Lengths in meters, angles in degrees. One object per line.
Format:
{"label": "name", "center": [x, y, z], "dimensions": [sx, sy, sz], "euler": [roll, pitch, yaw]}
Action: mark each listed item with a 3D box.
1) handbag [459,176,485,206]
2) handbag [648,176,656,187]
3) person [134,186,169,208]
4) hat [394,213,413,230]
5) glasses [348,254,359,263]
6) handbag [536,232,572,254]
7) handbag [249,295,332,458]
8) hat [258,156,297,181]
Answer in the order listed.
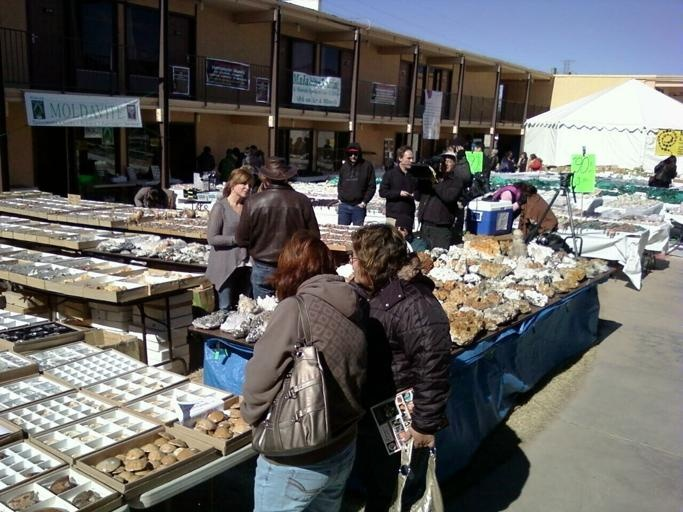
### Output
{"label": "handbag", "center": [2.466, -1.236, 9.093], "dimensions": [0.310, 0.302, 0.970], "euler": [16, 1, 8]}
{"label": "handbag", "center": [10.583, -2.546, 16.244], "dimensions": [0.215, 0.301, 0.080], "euler": [29, 26, 33]}
{"label": "person", "center": [-3.330, -1.029, 8.357], "dimensions": [0.427, 0.362, 0.823], "euler": [-23, 17, -3]}
{"label": "hat", "center": [1.001, -0.547, 7.542], "dimensions": [0.277, 0.219, 0.198], "euler": [6, 10, -38]}
{"label": "glasses", "center": [0.100, 0.019, 4.023], "dimensions": [0.092, 0.029, 0.092], "euler": [-8, 16, -30]}
{"label": "handbag", "center": [4.007, -0.245, 8.938], "dimensions": [0.697, 0.277, 0.542], "euler": [18, 0, -16]}
{"label": "handbag", "center": [-0.225, 0.572, 2.218], "dimensions": [0.220, 0.809, 0.507], "euler": [17, -33, -40]}
{"label": "hat", "center": [-0.644, -0.870, 4.756], "dimensions": [0.357, 0.234, 0.292], "euler": [0, 14, -9]}
